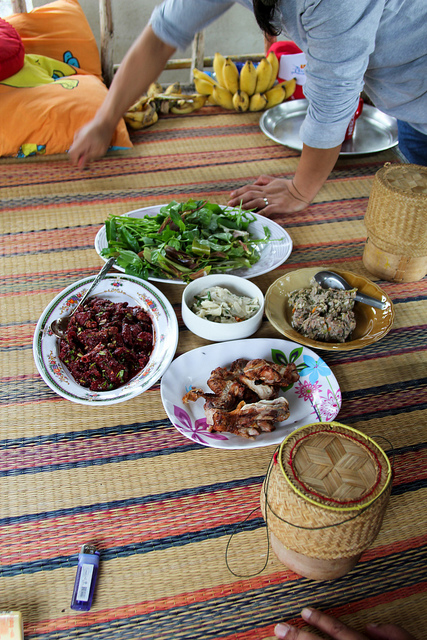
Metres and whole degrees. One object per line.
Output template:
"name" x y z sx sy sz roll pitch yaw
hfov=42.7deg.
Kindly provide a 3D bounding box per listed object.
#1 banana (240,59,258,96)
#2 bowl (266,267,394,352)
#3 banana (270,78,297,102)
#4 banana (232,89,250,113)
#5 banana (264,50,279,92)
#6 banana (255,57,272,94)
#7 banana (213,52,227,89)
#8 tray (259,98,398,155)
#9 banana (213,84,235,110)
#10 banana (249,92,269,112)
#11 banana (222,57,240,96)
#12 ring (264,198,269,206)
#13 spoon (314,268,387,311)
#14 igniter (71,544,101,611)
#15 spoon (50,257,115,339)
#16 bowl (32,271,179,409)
"banana" 0.111 -0.792 1.761 0.041 0.039 0.129 6 6 4
"bowl" 0.220 -0.025 1.049 0.201 0.049 0.194 -2 41 2
"banana" 0.242 -0.789 1.873 0.031 0.039 0.113 42 86 13
"banana" 0.088 -0.723 1.801 0.045 0.036 0.053 -7 79 -5
"banana" 0.192 -0.825 1.817 0.046 0.129 0.037 18 36 33
"banana" 0.163 -0.800 1.798 0.047 0.112 0.049 9 39 4
"banana" 0.024 -0.844 1.829 0.046 0.128 0.036 11 47 23
"tray" 0.361 -0.614 1.735 0.436 0.089 0.371 10 36 8
"banana" 0.030 -0.740 1.809 0.032 0.104 0.030 -17 57 24
"banana" 0.148 -0.724 1.843 0.029 0.051 0.080 43 62 -14
"banana" 0.056 -0.793 1.787 0.061 0.114 0.054 4 39 -1
"ring" 0.135 -0.304 1.399 0.004 0.015 0.015 -7 36 23
"spoon" 0.250 -0.066 1.102 0.186 0.048 0.026 31 5 37
"igniter" -0.173 0.351 0.736 0.068 0.035 0.074 5 31 -4
"spoon" -0.258 -0.050 1.069 0.040 0.057 0.232 13 36 10
"bowl" -0.202 0.034 1.000 0.275 0.236 0.066 7 7 -35
